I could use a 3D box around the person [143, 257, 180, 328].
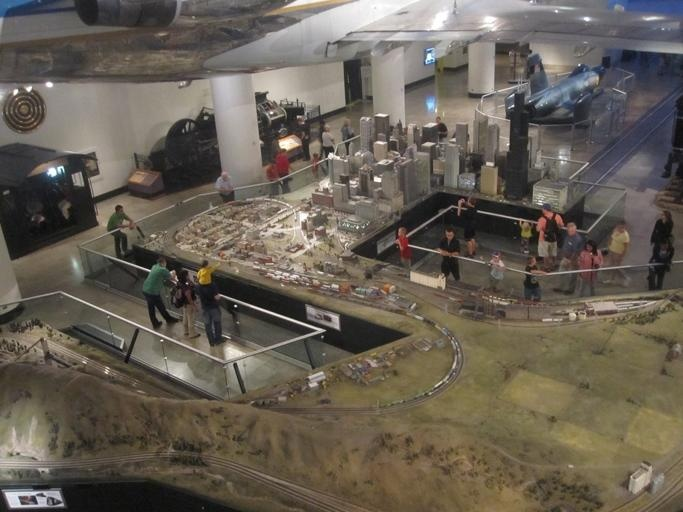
[{"bbox_3d":[-5.773,1.250,18.935,0.680,2.256,1.127,37,53,16],"label":"person"}]

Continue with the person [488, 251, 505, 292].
[{"bbox_3d":[4.434,0.424,16.728,0.421,0.956,0.492,-2,21,13],"label":"person"}]

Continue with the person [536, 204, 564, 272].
[{"bbox_3d":[6.855,-0.615,19.563,0.891,2.126,0.845,-10,18,-18],"label":"person"}]

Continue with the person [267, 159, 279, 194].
[{"bbox_3d":[-2.907,-3.303,25.061,0.463,1.071,2.093,-8,20,-4],"label":"person"}]

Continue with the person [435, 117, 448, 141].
[{"bbox_3d":[4.693,-5.910,27.443,0.312,1.145,1.195,-1,21,16],"label":"person"}]

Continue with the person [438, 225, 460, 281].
[{"bbox_3d":[3.349,0.087,18.217,0.690,2.034,0.660,10,41,21],"label":"person"}]

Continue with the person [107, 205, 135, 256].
[{"bbox_3d":[-8.114,-0.988,21.686,0.912,1.886,0.859,-16,22,-24],"label":"person"}]

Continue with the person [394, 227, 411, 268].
[{"bbox_3d":[2.057,-0.275,19.905,0.492,1.465,0.527,0,53,13],"label":"person"}]

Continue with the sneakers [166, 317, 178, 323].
[{"bbox_3d":[-5.511,2.080,19.264,0.402,0.132,0.274,-4,8,-21],"label":"sneakers"}]

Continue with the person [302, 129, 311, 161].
[{"bbox_3d":[-1.857,-5.872,31.136,0.445,1.564,1.115,-8,20,-3],"label":"person"}]

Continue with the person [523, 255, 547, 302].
[{"bbox_3d":[5.398,0.819,16.480,0.537,1.616,0.461,-5,16,1],"label":"person"}]

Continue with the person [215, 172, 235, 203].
[{"bbox_3d":[-4.699,-2.815,23.839,0.687,1.227,0.636,-10,21,-10],"label":"person"}]

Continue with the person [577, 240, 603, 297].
[{"bbox_3d":[7.009,0.344,16.615,0.610,1.253,1.289,2,22,22],"label":"person"}]

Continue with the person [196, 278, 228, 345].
[{"bbox_3d":[-3.780,1.678,17.331,0.521,2.184,0.731,-23,26,-37],"label":"person"}]
